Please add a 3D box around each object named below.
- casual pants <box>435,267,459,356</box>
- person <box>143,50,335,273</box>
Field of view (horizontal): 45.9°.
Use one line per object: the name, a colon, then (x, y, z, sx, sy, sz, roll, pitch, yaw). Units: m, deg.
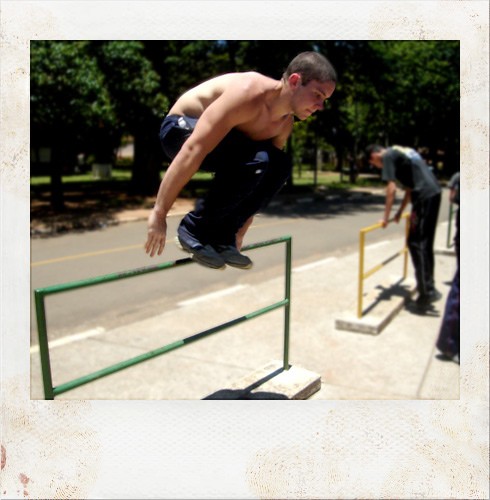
casual pants: (1.710, 0.524, 4.921, 0.172, 0.758, 0.184, 28, 47, 36)
person: (-0.051, -0.466, 2.891, 0.810, 1.073, 0.786, 19, 10, 42)
